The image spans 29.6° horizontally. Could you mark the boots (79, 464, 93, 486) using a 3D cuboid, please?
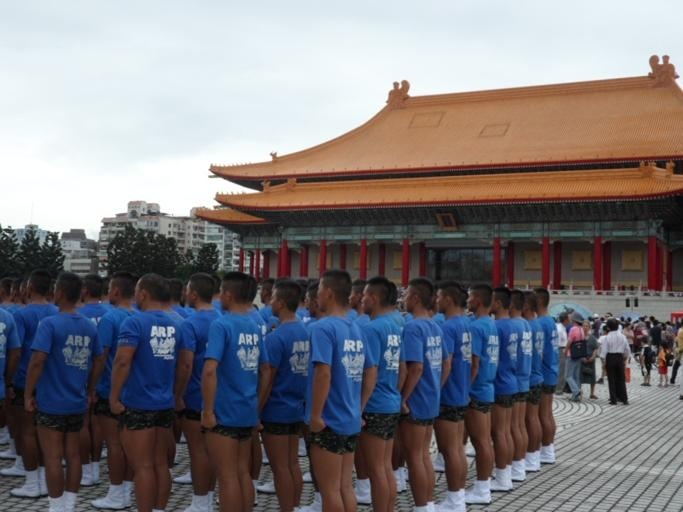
[{"bbox_3d":[-5.069,4.365,25.728,0.226,0.432,0.138,2,-5,-21],"label":"boots"}]

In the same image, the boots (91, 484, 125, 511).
[{"bbox_3d":[-4.572,4.735,25.290,0.772,0.560,0.328,3,-10,13],"label":"boots"}]
